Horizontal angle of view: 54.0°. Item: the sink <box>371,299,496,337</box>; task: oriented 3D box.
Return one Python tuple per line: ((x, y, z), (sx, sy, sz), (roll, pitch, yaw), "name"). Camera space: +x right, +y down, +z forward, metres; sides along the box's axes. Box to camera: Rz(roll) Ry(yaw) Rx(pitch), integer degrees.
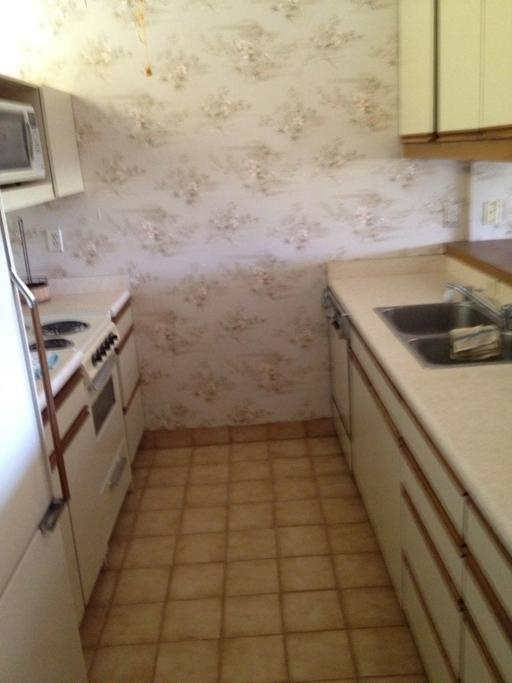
((0.711, -0.102, 1.920), (0.198, 0.095, 0.244), (-3, 29, -3), "sink")
